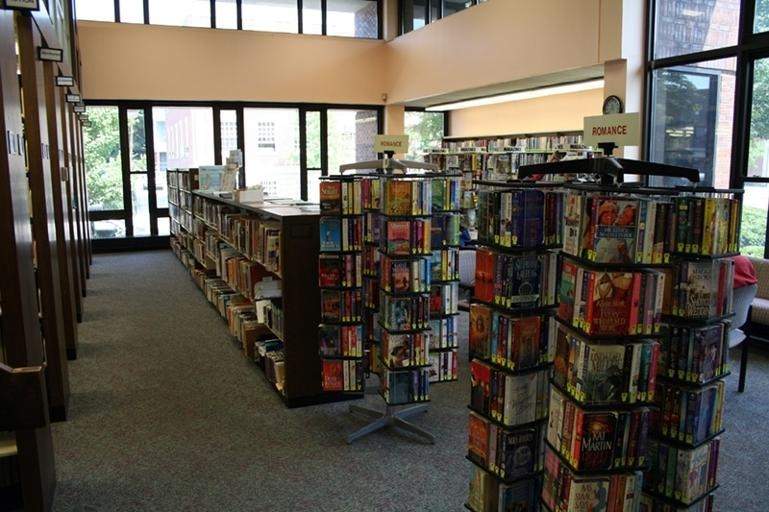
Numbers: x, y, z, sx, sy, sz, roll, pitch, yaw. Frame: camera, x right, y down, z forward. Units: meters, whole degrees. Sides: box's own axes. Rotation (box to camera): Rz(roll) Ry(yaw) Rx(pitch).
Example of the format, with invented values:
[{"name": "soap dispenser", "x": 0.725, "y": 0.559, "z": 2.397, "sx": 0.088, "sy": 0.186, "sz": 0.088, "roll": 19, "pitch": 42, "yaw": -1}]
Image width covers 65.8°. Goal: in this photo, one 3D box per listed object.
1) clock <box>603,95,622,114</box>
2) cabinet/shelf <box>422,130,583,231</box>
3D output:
[{"name": "clock", "x": 3.278, "y": -2.189, "z": 8.532, "sx": 0.142, "sy": 0.243, "sz": 0.418, "roll": -4, "pitch": 11, "yaw": -12}, {"name": "cabinet/shelf", "x": 1.419, "y": -0.970, "z": 7.051, "sx": 0.394, "sy": 1.314, "sz": 2.577, "roll": 1, "pitch": 4, "yaw": -22}]
